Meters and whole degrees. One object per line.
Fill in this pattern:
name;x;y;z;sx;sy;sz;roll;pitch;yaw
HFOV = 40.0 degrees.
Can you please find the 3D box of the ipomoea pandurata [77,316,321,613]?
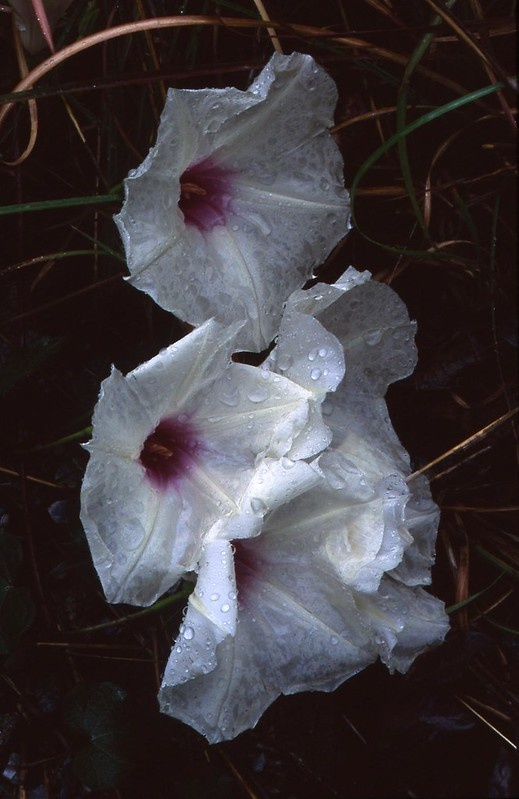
ipomoea pandurata;-0.139;0.096;1.059;0.261;0.194;0.433;37;81;4
